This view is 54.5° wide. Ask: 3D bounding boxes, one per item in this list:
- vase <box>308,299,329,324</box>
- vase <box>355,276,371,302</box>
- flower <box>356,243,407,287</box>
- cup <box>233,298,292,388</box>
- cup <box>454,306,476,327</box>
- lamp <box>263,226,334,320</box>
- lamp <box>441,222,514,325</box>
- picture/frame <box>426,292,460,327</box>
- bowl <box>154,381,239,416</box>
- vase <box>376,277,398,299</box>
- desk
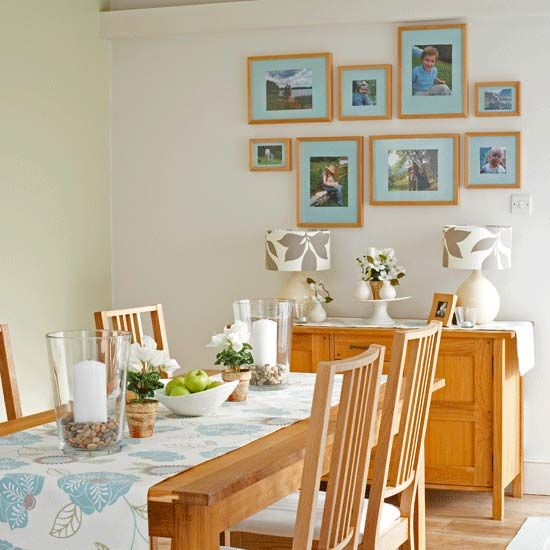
[{"bbox_3d":[0.243,0.222,3.143,0.131,0.171,0.135,0,-1,38],"label":"vase"},{"bbox_3d":[0.533,0.088,3.140,0.112,0.151,0.113,0,-1,26],"label":"vase"},{"bbox_3d":[0.632,-0.056,3.166,0.303,0.224,0.339,-1,2,8],"label":"flower"},{"bbox_3d":[-0.030,0.234,1.796,0.159,0.297,0.114,-4,4,-42],"label":"cup"},{"bbox_3d":[1.015,0.220,2.844,0.102,0.123,0.103,0,1,0],"label":"cup"},{"bbox_3d":[0.150,-0.009,3.261,0.527,0.545,0.510,-3,7,-32],"label":"lamp"},{"bbox_3d":[1.099,0.003,2.902,0.342,0.540,0.181,-1,3,14],"label":"lamp"},{"bbox_3d":[0.901,0.186,2.834,0.074,0.234,0.184,11,-6,-36],"label":"picture/frame"},{"bbox_3d":[-0.208,0.337,1.440,0.145,0.050,0.133,-1,-3,0],"label":"bowl"},{"bbox_3d":[0.659,0.069,3.051,0.108,0.143,0.104,-2,-6,15],"label":"vase"},{"bbox_3d":[0.801,0.817,3.166,1.286,0.911,0.539,-2,-11,31],"label":"desk"}]
